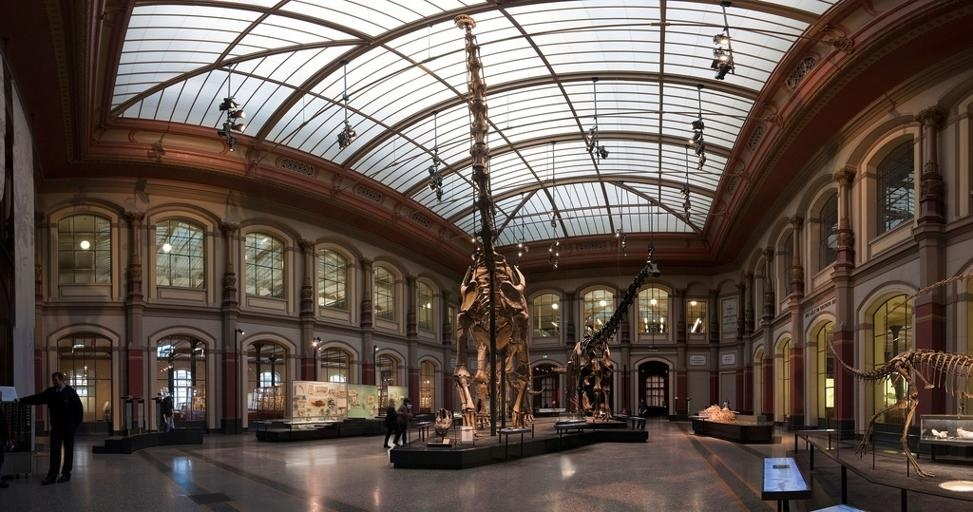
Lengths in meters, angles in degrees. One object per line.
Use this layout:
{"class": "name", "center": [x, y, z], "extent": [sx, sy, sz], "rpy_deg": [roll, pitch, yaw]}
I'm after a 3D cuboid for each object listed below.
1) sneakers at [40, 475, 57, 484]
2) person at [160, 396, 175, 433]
{"class": "sneakers", "center": [-15.152, 7.905, 28.261], "extent": [0.678, 0.272, 0.228], "rpy_deg": [1, -13, 1]}
{"class": "person", "center": [-15.271, 7.566, 38.746], "extent": [0.582, 1.668, 1.334], "rpy_deg": [4, -16, -16]}
